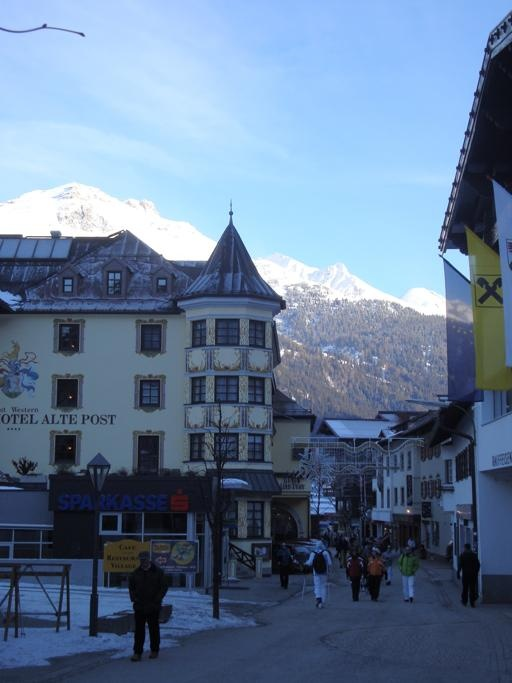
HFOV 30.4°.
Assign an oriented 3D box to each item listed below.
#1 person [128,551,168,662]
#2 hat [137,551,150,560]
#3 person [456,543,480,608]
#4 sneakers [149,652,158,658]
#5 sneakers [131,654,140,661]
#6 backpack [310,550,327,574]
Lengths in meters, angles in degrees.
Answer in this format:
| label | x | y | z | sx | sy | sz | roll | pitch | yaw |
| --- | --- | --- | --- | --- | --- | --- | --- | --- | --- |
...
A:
| label | x | y | z | sx | sy | sz | roll | pitch | yaw |
| --- | --- | --- | --- | --- | --- | --- | --- | --- | --- |
| person | -1.530 | 3.704 | 13.272 | 0.522 | 1.403 | 1.241 | 1 | -11 | -8 |
| hat | -1.612 | 3.099 | 13.528 | 0.109 | 0.132 | 0.153 | 1 | 3 | 13 |
| person | 5.456 | 5.924 | 23.996 | 0.512 | 1.494 | 2.076 | -3 | -12 | 12 |
| sneakers | -1.417 | 4.318 | 12.969 | 0.111 | 0.070 | 0.162 | 1 | -12 | -7 |
| sneakers | -1.606 | 4.214 | 12.601 | 0.058 | 0.062 | 0.157 | 1 | 4 | 2 |
| backpack | 1.597 | 5.595 | 23.751 | 0.480 | 0.784 | 0.410 | 0 | -31 | 3 |
